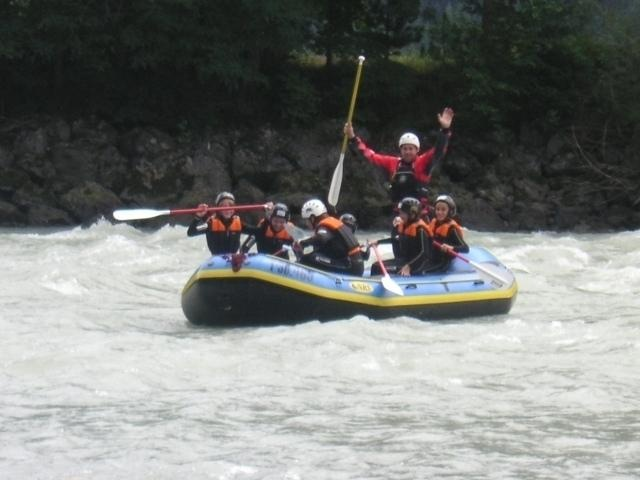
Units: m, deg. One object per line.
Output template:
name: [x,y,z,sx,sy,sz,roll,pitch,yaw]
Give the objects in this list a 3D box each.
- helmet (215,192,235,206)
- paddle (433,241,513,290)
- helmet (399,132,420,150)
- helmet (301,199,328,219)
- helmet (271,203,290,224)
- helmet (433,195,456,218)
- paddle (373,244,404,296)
helmet: [-1.846,-0.770,25.535,0.293,0.265,0.291,6,12,-12]
paddle: [2.933,0.546,25.618,1.672,0.078,0.232,29,34,16]
helmet: [1.723,-1.918,25.630,0.328,0.288,0.419,2,14,10]
helmet: [-0.104,-0.589,25.039,0.474,0.330,0.330,7,3,24]
helmet: [-0.788,-0.493,25.200,0.360,0.362,0.391,8,5,-12]
helmet: [2.309,-0.614,25.614,0.469,0.499,0.533,2,4,17]
paddle: [1.203,0.618,24.775,0.285,0.170,1.597,-3,23,-16]
